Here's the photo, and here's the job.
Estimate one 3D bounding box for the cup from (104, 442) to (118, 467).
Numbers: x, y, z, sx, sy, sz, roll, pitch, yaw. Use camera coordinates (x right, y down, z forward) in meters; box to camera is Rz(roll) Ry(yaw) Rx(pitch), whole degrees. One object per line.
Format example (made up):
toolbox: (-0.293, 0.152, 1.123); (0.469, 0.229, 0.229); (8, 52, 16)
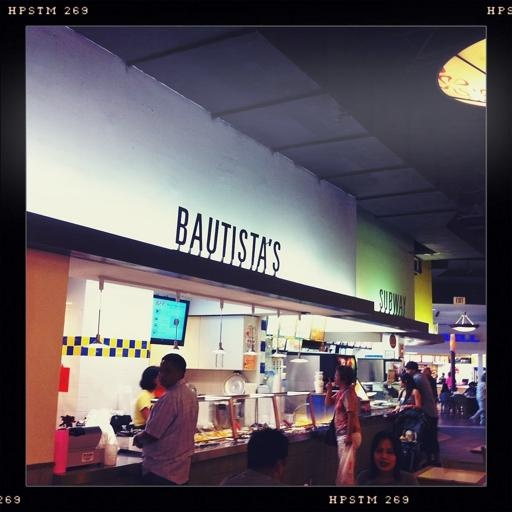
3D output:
cup: (-0.875, 1.202, 2.869); (0.056, 0.125, 0.140); (-3, -15, 13)

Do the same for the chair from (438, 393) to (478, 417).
chair: (6.020, 4.411, 13.904); (0.927, 0.709, 0.944); (0, -3, 19)

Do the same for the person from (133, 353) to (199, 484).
person: (-0.565, 1.028, 3.028); (0.371, 0.779, 0.153); (2, -14, -9)

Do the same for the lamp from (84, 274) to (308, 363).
lamp: (-0.932, 0.846, 5.895); (1.684, 0.975, 1.866); (-2, -16, 5)

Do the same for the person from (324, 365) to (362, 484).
person: (0.831, 1.563, 4.412); (0.259, 1.047, 0.369); (-3, -14, 13)

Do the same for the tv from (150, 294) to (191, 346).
tv: (-1.097, 0.827, 6.081); (0.762, 0.619, 0.074); (0, -9, 41)

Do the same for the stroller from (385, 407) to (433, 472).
stroller: (1.914, 2.370, 6.002); (0.457, 0.732, 0.663); (4, -19, 23)
